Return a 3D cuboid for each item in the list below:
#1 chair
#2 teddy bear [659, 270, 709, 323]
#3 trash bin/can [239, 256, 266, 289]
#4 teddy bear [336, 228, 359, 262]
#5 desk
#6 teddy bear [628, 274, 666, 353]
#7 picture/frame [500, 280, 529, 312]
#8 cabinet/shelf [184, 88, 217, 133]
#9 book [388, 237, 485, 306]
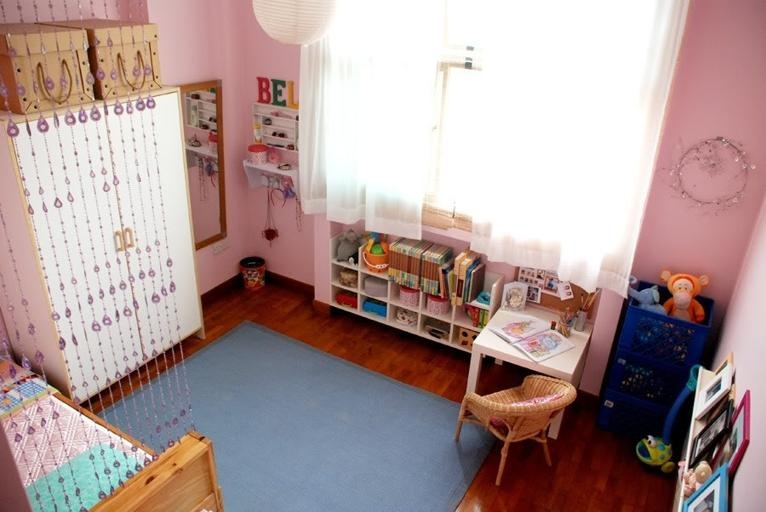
[{"bbox_3d":[1.123,1.387,4.389,0.989,0.847,1.000,7,17,18],"label":"chair"},{"bbox_3d":[2.539,0.363,4.257,0.334,0.455,0.314,5,14,38],"label":"teddy bear"},{"bbox_3d":[-1.593,0.201,6.227,0.311,0.335,0.255,-12,30,-30],"label":"trash bin/can"},{"bbox_3d":[-0.391,-0.120,5.521,0.143,0.327,0.310,28,-31,-34],"label":"teddy bear"},{"bbox_3d":[1.455,1.142,4.977,1.037,0.874,1.126,17,37,26],"label":"desk"},{"bbox_3d":[2.239,0.380,4.333,0.263,0.497,0.574,-15,46,37],"label":"teddy bear"},{"bbox_3d":[1.285,0.395,4.885,0.247,0.313,0.023,8,18,13],"label":"picture/frame"},{"bbox_3d":[-1.902,-1.528,5.269,0.375,0.379,0.109,12,20,14],"label":"cabinet/shelf"},{"bbox_3d":[0.537,0.137,5.174,0.956,0.519,0.308,16,28,21],"label":"book"}]
